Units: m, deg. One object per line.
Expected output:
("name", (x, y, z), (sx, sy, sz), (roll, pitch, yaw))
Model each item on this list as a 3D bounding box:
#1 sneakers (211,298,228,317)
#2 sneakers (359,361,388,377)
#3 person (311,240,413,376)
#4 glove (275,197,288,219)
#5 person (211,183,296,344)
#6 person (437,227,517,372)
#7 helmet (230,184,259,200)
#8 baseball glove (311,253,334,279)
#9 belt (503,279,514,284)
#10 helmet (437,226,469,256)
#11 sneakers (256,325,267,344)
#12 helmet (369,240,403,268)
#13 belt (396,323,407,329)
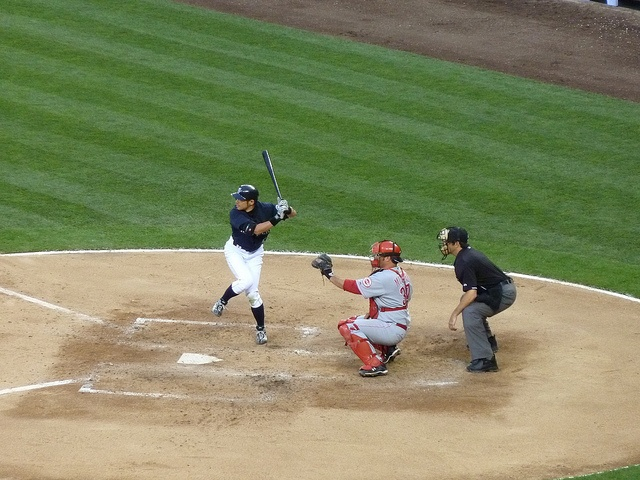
("sneakers", (-1.641, 1.090, 21.373), (0.208, 0.133, 0.389), (-25, 23, 1))
("sneakers", (0.823, 2.003, 20.240), (0.555, 0.196, 0.165), (2, 7, -4))
("person", (0.745, 1.049, 20.437), (1.308, 2.091, 0.610), (6, 5, 2))
("glove", (-0.629, -0.484, 21.071), (0.149, 0.315, 0.229), (11, 46, -8))
("person", (-1.142, 0.372, 21.280), (1.107, 2.503, 0.761), (7, 6, 10))
("person", (2.421, 0.938, 20.548), (1.197, 2.207, 0.600), (7, 5, 6))
("helmet", (-1.217, -0.760, 21.010), (0.401, 0.154, 0.229), (10, 14, -7))
("baseball glove", (0.057, 0.387, 20.606), (0.280, 0.189, 0.519), (-32, 28, 2))
("belt", (2.971, 0.651, 20.736), (0.097, 0.036, 0.114), (-23, -4, 15))
("helmet", (2.091, 0.048, 20.819), (0.610, 0.422, 0.390), (-4, -10, 2))
("sneakers", (-0.933, 1.511, 21.102), (0.187, 0.285, 0.285), (5, 4, -4))
("helmet", (1.007, 0.191, 20.636), (0.577, 0.356, 0.398), (11, 8, 16))
("belt", (1.265, 1.334, 20.482), (0.145, 0.041, 0.094), (21, 6, 11))
